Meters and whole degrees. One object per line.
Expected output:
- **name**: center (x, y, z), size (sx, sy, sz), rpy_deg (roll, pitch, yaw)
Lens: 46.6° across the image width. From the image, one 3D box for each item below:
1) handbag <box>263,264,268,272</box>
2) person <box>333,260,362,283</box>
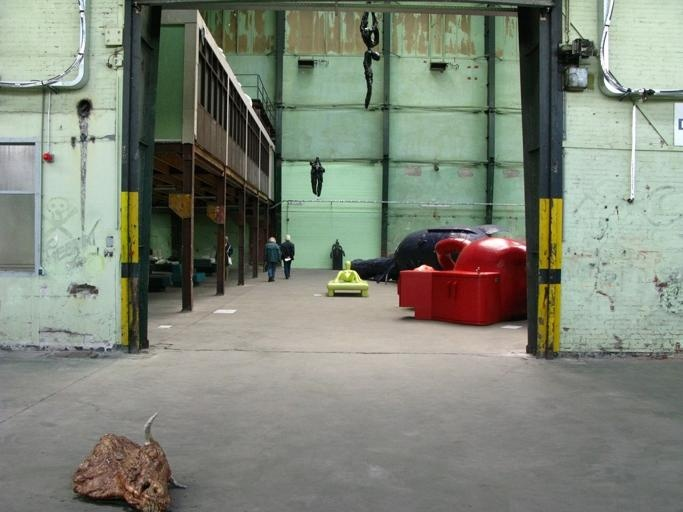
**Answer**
- **handbag**: center (-2.869, 0.427, 29.971), size (0.111, 0.317, 0.217), rpy_deg (8, 7, 18)
- **person**: center (0.243, 0.506, 26.934), size (0.790, 0.448, 1.147), rpy_deg (0, 1, 3)
